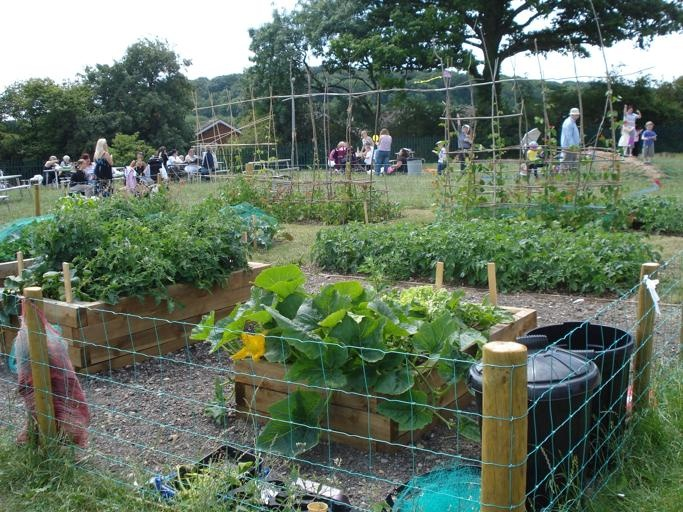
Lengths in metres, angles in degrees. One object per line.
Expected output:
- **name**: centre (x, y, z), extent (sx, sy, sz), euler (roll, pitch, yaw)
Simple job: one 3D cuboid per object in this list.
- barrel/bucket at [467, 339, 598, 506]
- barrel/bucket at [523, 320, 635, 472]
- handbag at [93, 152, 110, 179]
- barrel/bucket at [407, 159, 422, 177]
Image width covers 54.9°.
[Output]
- **barrel/bucket**: centre (1.051, 1.143, 4.372), extent (0.933, 1.085, 0.963), euler (-1, 1, 0)
- **barrel/bucket**: centre (1.655, 0.947, 4.887), extent (0.947, 1.031, 0.851), euler (-10, 11, -39)
- **handbag**: centre (-4.770, -1.772, 13.140), extent (0.332, 0.465, 0.506), euler (-5, 8, -21)
- **barrel/bucket**: centre (2.869, -3.520, 25.972), extent (0.572, 0.598, 1.467), euler (-2, 8, 5)
